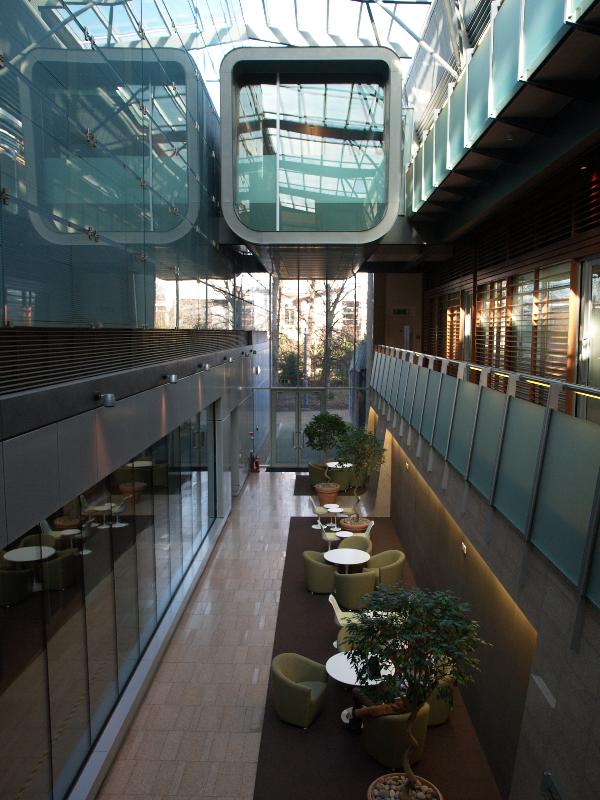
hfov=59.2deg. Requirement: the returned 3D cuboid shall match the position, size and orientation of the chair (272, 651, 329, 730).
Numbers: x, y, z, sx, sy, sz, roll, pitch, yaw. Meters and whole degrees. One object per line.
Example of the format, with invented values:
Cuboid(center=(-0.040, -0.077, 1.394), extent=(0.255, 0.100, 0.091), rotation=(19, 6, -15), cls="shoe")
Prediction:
Cuboid(center=(-0.040, 3.472, 6.487), extent=(0.583, 0.716, 0.765), rotation=(1, 3, 14), cls="chair")
